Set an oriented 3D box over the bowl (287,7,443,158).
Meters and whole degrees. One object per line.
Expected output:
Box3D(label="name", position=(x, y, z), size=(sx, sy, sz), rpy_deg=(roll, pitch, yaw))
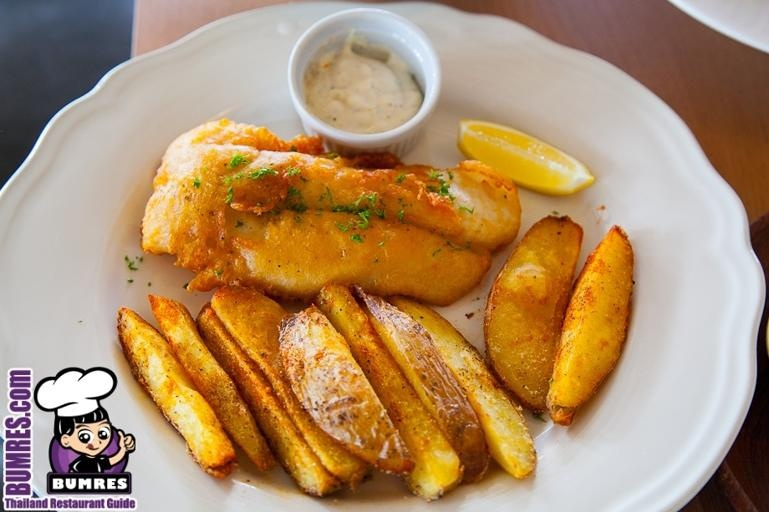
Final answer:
Box3D(label="bowl", position=(-0.032, -1.125, 4.419), size=(1.064, 0.790, 0.844), rpy_deg=(6, -58, 14))
